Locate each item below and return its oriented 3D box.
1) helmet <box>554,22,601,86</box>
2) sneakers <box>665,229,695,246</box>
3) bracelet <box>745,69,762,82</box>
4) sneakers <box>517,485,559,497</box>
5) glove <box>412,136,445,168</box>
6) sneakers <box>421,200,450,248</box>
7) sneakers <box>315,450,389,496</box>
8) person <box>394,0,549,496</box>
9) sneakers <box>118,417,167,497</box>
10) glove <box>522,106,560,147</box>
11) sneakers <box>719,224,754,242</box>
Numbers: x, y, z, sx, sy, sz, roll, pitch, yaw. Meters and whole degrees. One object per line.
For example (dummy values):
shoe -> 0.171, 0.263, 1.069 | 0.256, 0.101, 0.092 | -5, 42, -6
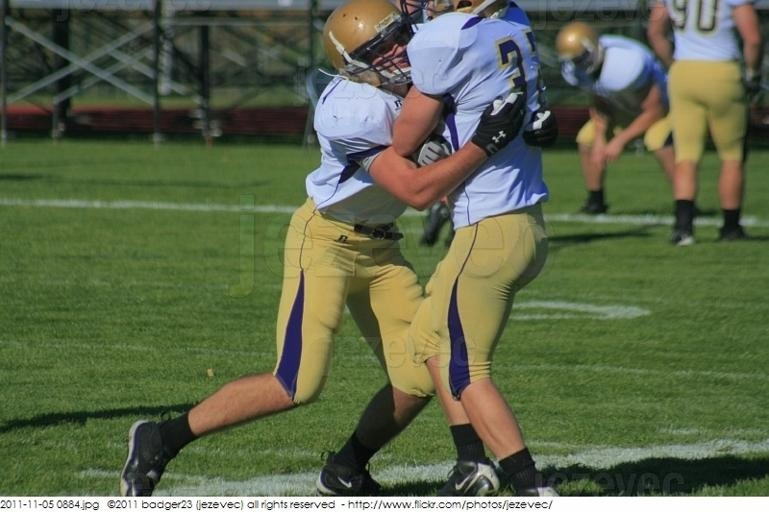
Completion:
helmet -> 1.083, -1.172, 8.460 | 0.240, 0.317, 0.317 | 0, 43, 17
sneakers -> 2.048, -0.116, 10.354 | 0.141, 0.132, 0.095 | 5, 5, 31
bracelet -> 2.478, -1.207, 10.039 | 0.105, 0.088, 0.160 | 3, 8, 13
sneakers -> 0.764, 1.180, 7.398 | 0.210, 0.068, 0.074 | -2, 9, -19
glove -> 0.215, -0.500, 7.507 | 0.159, 0.123, 0.159 | -27, 1, -20
sneakers -> 0.334, -0.201, 9.884 | 0.125, 0.166, 0.400 | 3, 12, 11
sneakers -> -0.217, 1.184, 7.927 | 0.489, 0.201, 0.160 | 14, 1, -42
person -> 0.456, -0.005, 7.418 | 0.809, 2.365, 0.421 | 1, 8, -1
sneakers -> -1.231, 1.048, 7.704 | 0.206, 0.457, 0.162 | 6, 0, 20
glove -> 0.787, -0.631, 7.440 | 0.112, 0.199, 0.173 | 8, 11, 42
sneakers -> 2.438, -0.152, 10.397 | 0.159, 0.144, 0.115 | 4, 0, 9
